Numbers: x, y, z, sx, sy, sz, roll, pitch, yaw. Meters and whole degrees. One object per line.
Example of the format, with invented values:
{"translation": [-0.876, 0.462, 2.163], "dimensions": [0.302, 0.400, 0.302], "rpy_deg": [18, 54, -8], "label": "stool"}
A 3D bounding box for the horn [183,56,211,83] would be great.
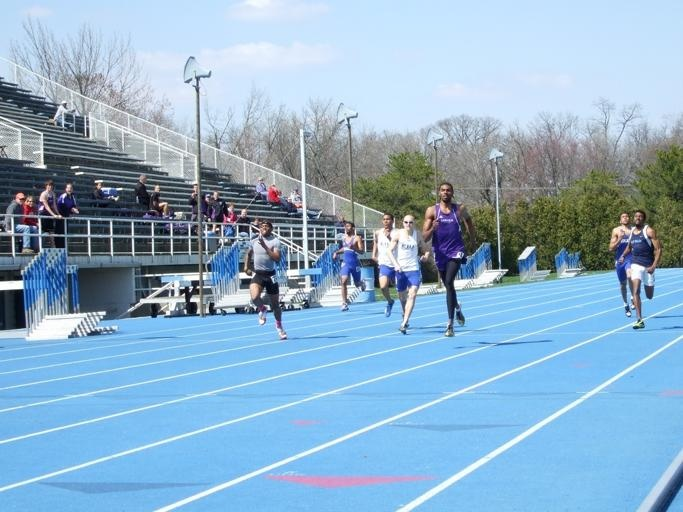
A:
{"translation": [-3.159, -4.053, 20.978], "dimensions": [0.527, 0.636, 0.809], "rpy_deg": [-2, 3, -9], "label": "horn"}

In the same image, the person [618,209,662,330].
{"translation": [4.891, 0.220, 15.588], "dimensions": [0.525, 1.942, 0.898], "rpy_deg": [-1, 3, 17], "label": "person"}

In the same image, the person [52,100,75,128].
{"translation": [-11.004, -5.624, 38.112], "dimensions": [0.656, 1.162, 1.542], "rpy_deg": [-2, 3, -4], "label": "person"}

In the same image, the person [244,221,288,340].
{"translation": [-1.275, 0.415, 16.322], "dimensions": [0.638, 2.021, 1.563], "rpy_deg": [-2, 3, -6], "label": "person"}

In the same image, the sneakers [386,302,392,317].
{"translation": [0.911, 1.042, 18.995], "dimensions": [0.111, 0.382, 0.141], "rpy_deg": [4, -2, 12], "label": "sneakers"}

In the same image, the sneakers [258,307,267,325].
{"translation": [-1.442, 1.093, 17.576], "dimensions": [0.159, 0.423, 0.132], "rpy_deg": [-3, 18, -4], "label": "sneakers"}

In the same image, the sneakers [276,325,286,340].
{"translation": [-1.019, 1.272, 16.243], "dimensions": [0.098, 0.140, 0.299], "rpy_deg": [-3, 10, -20], "label": "sneakers"}
